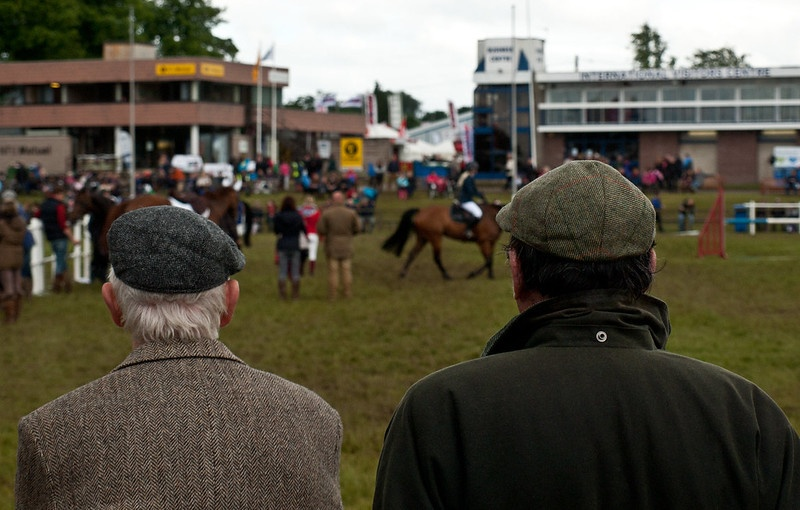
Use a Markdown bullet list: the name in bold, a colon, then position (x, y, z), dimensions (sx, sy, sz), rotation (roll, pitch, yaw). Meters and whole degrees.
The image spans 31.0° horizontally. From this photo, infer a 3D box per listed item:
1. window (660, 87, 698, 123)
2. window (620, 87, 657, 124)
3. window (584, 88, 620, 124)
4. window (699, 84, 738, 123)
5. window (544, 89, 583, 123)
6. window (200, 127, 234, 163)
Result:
- **window**: position (3.026, -1.617, 15.479), dimensions (0.461, 0.041, 0.590), rotation (-4, -37, 10)
- **window**: position (2.770, -1.708, 16.594), dimensions (0.381, 0.378, 0.093), rotation (9, 5, 42)
- **window**: position (2.459, -1.776, 17.353), dimensions (0.377, 0.396, 0.244), rotation (4, 9, 9)
- **window**: position (3.292, -1.556, 14.765), dimensions (0.358, 0.386, 0.028), rotation (7, 14, 42)
- **window**: position (2.016, -1.786, 17.473), dimensions (0.411, 0.431, 0.257), rotation (6, 2, 32)
- **window**: position (-2.248, -1.278, 18.073), dimensions (0.335, 0.495, 0.329), rotation (3, 3, 9)
